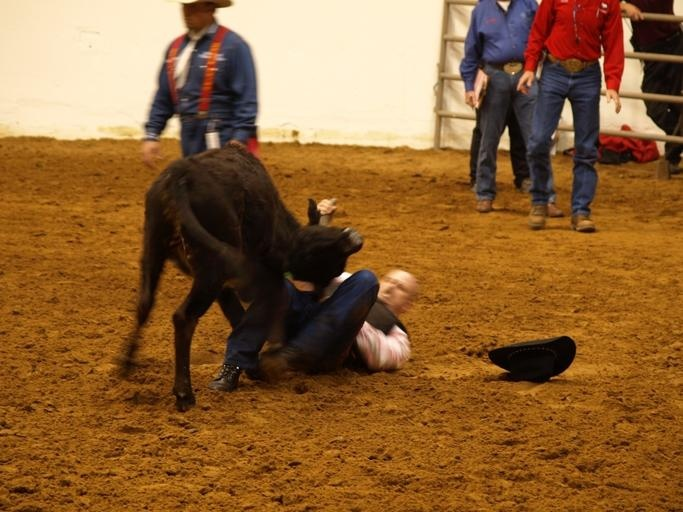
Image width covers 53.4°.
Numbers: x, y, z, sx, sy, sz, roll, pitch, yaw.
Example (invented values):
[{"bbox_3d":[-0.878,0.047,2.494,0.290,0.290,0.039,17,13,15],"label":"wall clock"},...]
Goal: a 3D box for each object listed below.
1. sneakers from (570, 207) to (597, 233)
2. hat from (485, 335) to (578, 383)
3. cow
[{"bbox_3d":[2.324,-0.323,6.551,0.139,0.132,0.310,-3,-2,-11],"label":"sneakers"},{"bbox_3d":[1.072,0.570,3.862,0.462,0.305,0.262,3,9,9],"label":"hat"},{"bbox_3d":[-0.508,0.108,3.465,0.976,1.331,0.410,-3,11,-31],"label":"cow"}]
